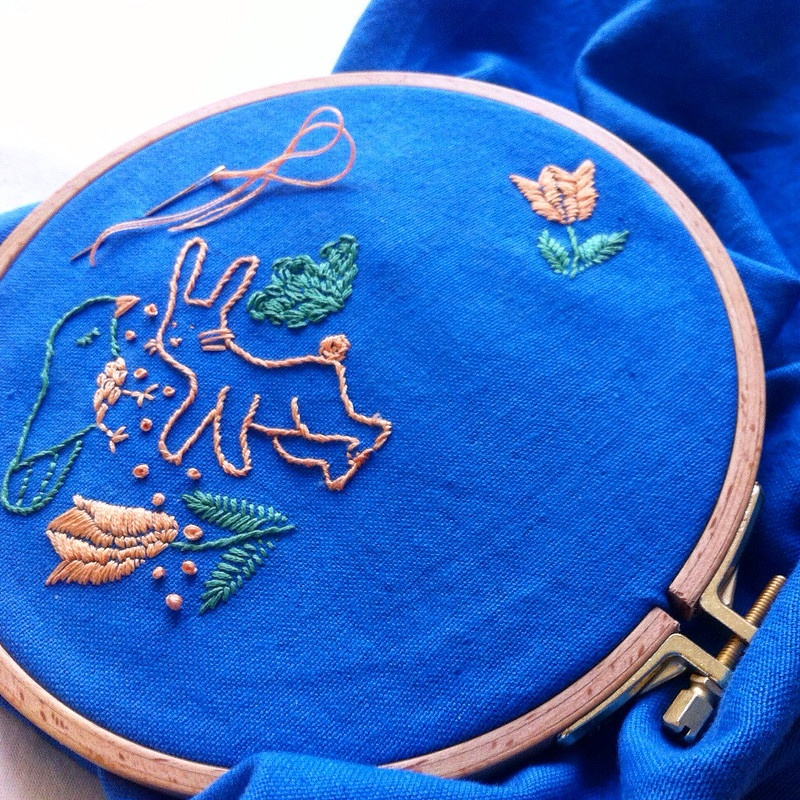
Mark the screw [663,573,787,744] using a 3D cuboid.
[{"bbox_3d":[0.395,0.324,1.403,0.050,0.064,0.243,31,64,36],"label":"screw"}]
